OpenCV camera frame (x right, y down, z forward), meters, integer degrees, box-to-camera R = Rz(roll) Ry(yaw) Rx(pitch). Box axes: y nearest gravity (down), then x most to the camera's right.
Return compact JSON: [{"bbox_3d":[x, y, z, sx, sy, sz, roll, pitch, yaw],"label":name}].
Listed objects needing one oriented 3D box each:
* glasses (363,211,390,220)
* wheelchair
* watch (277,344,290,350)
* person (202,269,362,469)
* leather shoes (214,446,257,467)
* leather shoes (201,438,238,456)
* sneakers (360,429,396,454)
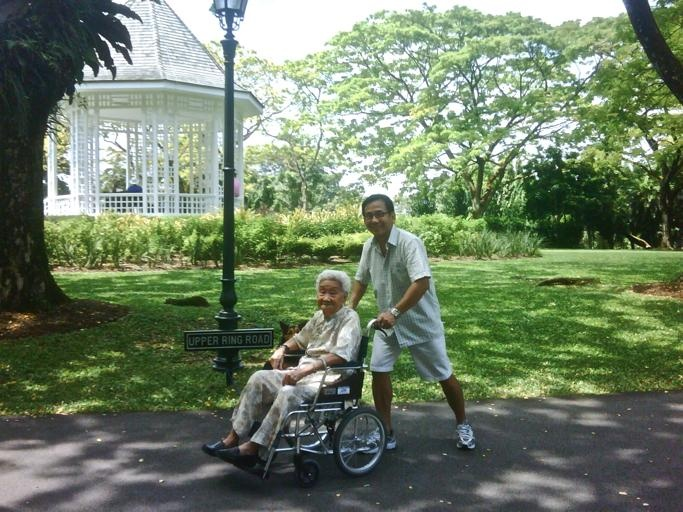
[{"bbox_3d":[0.343,-0.409,6.601,0.243,0.090,0.073,2,14,2],"label":"glasses"},{"bbox_3d":[-0.478,1.400,6.469,1.628,1.685,1.180,12,-14,-35],"label":"wheelchair"},{"bbox_3d":[-0.590,0.914,6.568,0.082,0.048,0.075,16,-9,-40],"label":"watch"},{"bbox_3d":[-0.444,1.045,6.199,0.777,1.661,1.424,13,18,38],"label":"person"},{"bbox_3d":[-0.949,1.845,6.043,0.423,0.142,0.146,21,-10,-8],"label":"leather shoes"},{"bbox_3d":[-1.145,1.768,6.099,0.386,0.144,0.175,9,-14,-37],"label":"leather shoes"},{"bbox_3d":[0.392,1.862,6.532,0.472,0.195,0.171,7,-10,-29],"label":"sneakers"}]
